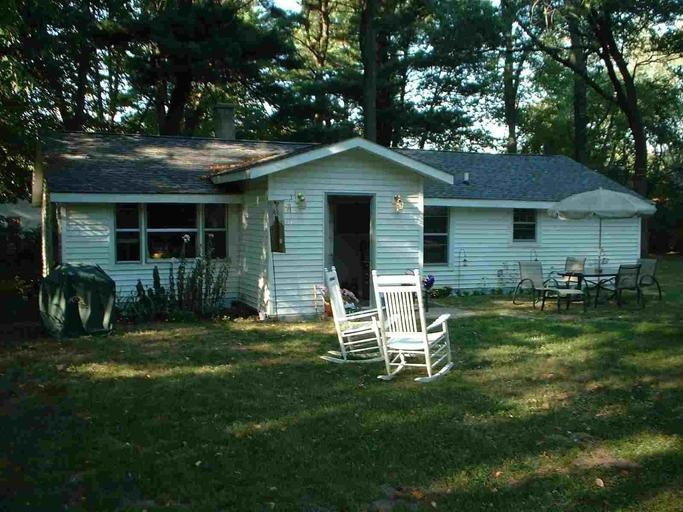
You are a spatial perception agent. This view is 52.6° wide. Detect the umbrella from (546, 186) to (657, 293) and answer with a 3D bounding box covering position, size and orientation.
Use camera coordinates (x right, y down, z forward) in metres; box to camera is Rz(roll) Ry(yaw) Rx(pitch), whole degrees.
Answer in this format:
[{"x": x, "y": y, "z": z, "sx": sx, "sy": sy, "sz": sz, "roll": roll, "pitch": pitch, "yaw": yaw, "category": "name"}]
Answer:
[{"x": 7.463, "y": -0.380, "z": 19.872, "sx": 2.880, "sy": 3.123, "sz": 2.993, "roll": -2, "pitch": 7, "yaw": 9, "category": "umbrella"}]
